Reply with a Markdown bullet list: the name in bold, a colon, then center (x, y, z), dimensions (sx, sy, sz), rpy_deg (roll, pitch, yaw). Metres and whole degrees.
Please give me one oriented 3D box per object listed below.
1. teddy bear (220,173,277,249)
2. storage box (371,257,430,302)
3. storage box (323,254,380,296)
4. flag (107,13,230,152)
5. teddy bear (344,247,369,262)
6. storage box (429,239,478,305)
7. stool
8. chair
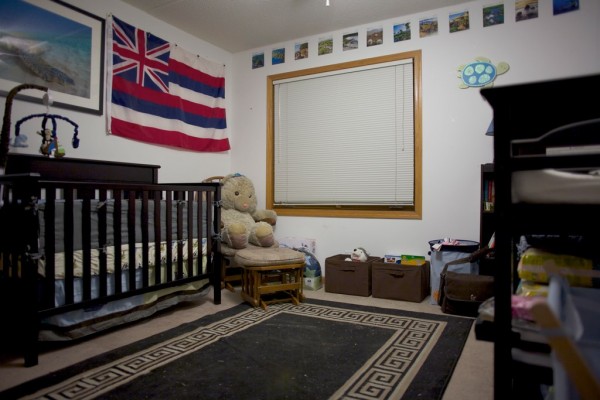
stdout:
- **teddy bear**: center (-0.659, 0.114, 4.587), dimensions (0.775, 0.836, 0.805), rpy_deg (1, 1, -42)
- **storage box**: center (1.072, 0.830, 4.132), dimensions (0.689, 0.326, 0.673), rpy_deg (1, -5, 7)
- **storage box**: center (0.566, 0.795, 4.270), dimensions (0.553, 0.359, 0.429), rpy_deg (-1, 1, 25)
- **flag**: center (-1.424, -1.210, 4.555), dimensions (0.081, 1.193, 1.759), rpy_deg (3, 2, 29)
- **teddy bear**: center (0.594, 0.582, 4.231), dimensions (0.207, 0.128, 0.148), rpy_deg (-4, 4, -28)
- **storage box**: center (1.488, 0.704, 3.955), dimensions (0.532, 0.584, 0.428), rpy_deg (1, 1, 34)
- **stool**: center (-0.279, 0.743, 3.869), dimensions (0.662, 0.475, 0.480), rpy_deg (1, 2, -30)
- **chair**: center (-0.688, 0.285, 4.579), dimensions (0.867, 1.210, 0.956), rpy_deg (2, 4, -5)
